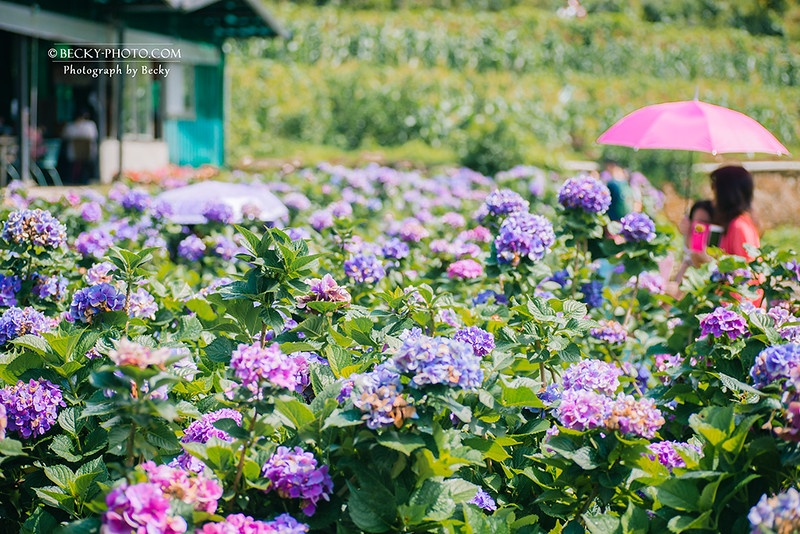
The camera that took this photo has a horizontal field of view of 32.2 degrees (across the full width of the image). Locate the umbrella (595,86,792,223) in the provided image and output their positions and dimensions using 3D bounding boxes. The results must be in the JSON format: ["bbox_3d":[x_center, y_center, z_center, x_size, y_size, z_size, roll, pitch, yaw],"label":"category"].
[{"bbox_3d":[3.575,-1.489,16.171,1.387,1.074,1.365,26,11,38],"label":"umbrella"}]
